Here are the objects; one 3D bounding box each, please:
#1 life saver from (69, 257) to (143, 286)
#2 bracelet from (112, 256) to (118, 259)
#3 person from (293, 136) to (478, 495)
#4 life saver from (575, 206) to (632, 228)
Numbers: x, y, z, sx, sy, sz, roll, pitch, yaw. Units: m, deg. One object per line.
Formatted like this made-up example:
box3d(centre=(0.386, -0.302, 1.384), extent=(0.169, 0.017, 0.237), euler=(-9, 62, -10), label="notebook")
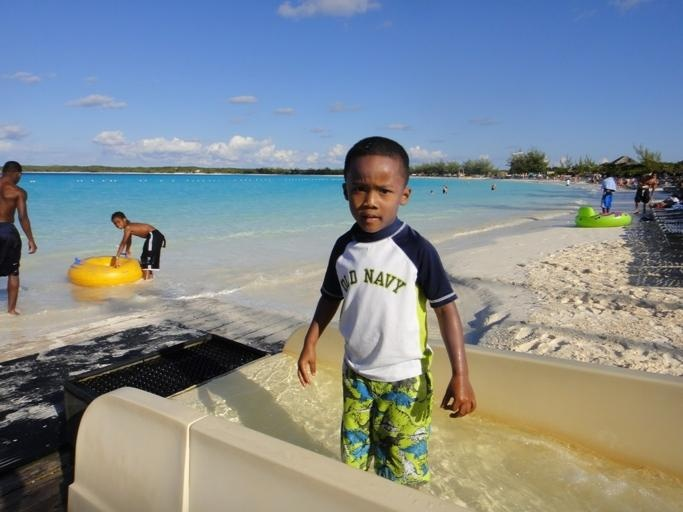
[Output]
box3d(centre=(-4.639, 0.351, 8.252), extent=(0.915, 0.280, 0.846), euler=(2, 1, 21), label="life saver")
box3d(centre=(-4.660, 0.043, 8.448), extent=(0.078, 0.054, 0.079), euler=(7, 5, 41), label="bracelet")
box3d(centre=(0.255, 0.300, 1.897), extent=(0.705, 1.664, 0.291), euler=(2, 10, 16), label="person")
box3d(centre=(9.532, -1.384, 15.025), extent=(1.650, 0.739, 0.875), euler=(6, 11, 39), label="life saver")
